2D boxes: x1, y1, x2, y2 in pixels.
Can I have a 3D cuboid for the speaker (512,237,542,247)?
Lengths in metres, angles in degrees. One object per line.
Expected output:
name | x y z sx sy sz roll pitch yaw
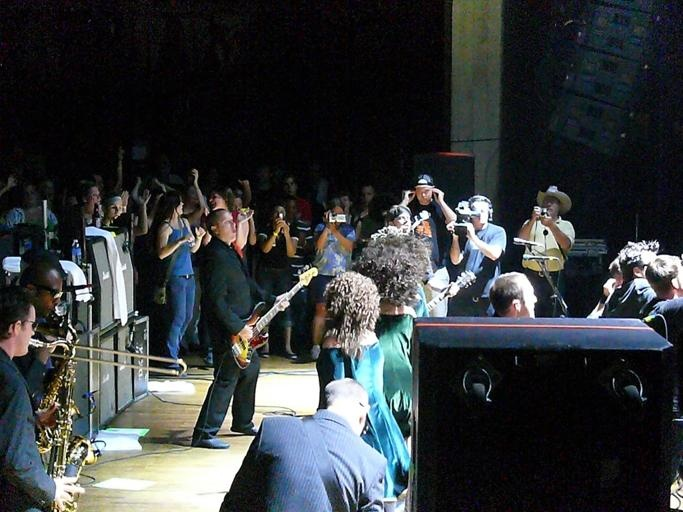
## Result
speaker | 1.722 -0.129 6.602 0.321 0.056 0.059 7 35 -33

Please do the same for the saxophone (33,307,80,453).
saxophone | -1.545 0.670 3.938 0.249 0.893 0.388 0 8 -10

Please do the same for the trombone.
trombone | -1.379 0.578 4.115 0.964 0.141 0.264 8 7 8

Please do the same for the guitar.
guitar | -0.508 0.403 5.347 0.929 0.300 0.115 -46 28 -22

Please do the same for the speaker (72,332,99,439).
speaker | -1.823 0.979 5.156 0.149 0.872 0.326 0 10 -11

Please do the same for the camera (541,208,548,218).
camera | 1.871 -0.386 6.614 0.057 0.029 0.080 -3 48 9

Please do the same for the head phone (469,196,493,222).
head phone | 1.336 -0.486 6.784 0.238 0.336 0.247 3 2 9
